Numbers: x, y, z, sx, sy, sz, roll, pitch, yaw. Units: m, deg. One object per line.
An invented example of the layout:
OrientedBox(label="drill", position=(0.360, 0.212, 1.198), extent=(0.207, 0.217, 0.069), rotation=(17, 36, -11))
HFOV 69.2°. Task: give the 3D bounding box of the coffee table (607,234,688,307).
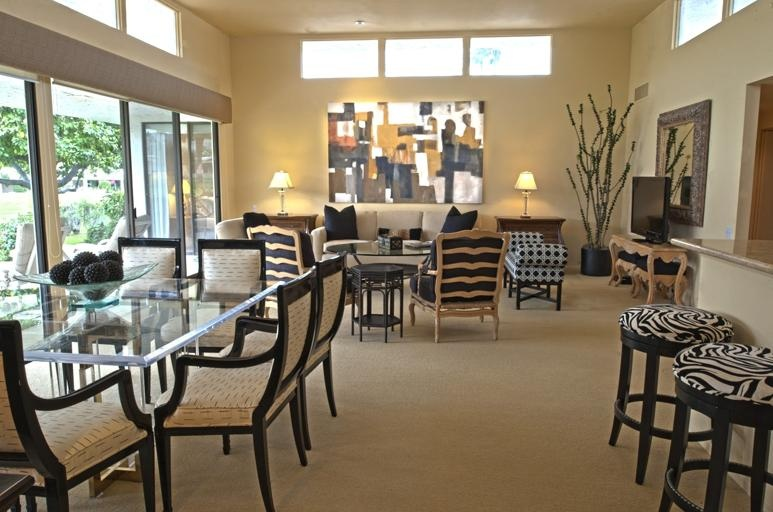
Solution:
OrientedBox(label="coffee table", position=(3.195, 0.172, 6.831), extent=(0.389, 0.456, 0.914), rotation=(-2, 8, -3))

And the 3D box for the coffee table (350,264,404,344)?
OrientedBox(label="coffee table", position=(-0.106, 0.400, 6.095), extent=(0.566, 0.690, 1.306), rotation=(-1, 10, -2))

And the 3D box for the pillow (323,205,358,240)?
OrientedBox(label="pillow", position=(-0.687, -0.498, 8.404), extent=(0.606, 0.581, 0.236), rotation=(-1, -6, -11))

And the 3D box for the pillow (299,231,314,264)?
OrientedBox(label="pillow", position=(-0.772, -0.078, 5.494), extent=(0.070, 0.263, 0.269), rotation=(-4, -3, 14))

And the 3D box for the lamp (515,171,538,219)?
OrientedBox(label="lamp", position=(2.143, -0.973, 8.640), extent=(0.323, 0.680, 0.517), rotation=(2, 11, 14))

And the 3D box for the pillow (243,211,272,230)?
OrientedBox(label="pillow", position=(-1.621, -0.402, 6.819), extent=(0.330, 0.123, 0.303), rotation=(7, 44, -26))

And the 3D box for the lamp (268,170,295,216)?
OrientedBox(label="lamp", position=(-1.670, -1.033, 8.968), extent=(0.379, 0.686, 0.581), rotation=(-3, 11, -11))

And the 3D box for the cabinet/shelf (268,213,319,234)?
OrientedBox(label="cabinet/shelf", position=(-1.468, -0.547, 8.819), extent=(0.579, 0.506, 0.408), rotation=(-1, 3, -2))

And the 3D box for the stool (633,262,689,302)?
OrientedBox(label="stool", position=(3.311, 0.286, 6.799), extent=(0.565, 0.700, 0.564), rotation=(1, 3, 11))

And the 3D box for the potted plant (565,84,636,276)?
OrientedBox(label="potted plant", position=(3.235, -1.171, 8.530), extent=(1.016, 2.841, 0.814), rotation=(1, 12, 9))

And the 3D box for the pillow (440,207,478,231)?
OrientedBox(label="pillow", position=(1.055, -0.524, 7.974), extent=(0.456, 0.310, 0.696), rotation=(-4, 10, -14))
